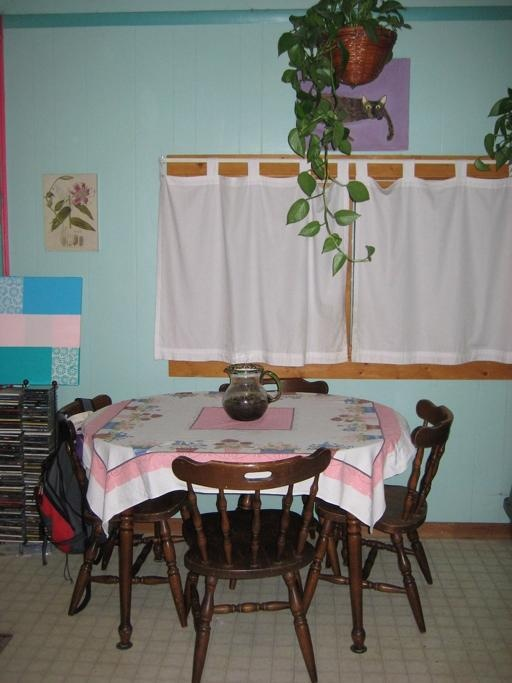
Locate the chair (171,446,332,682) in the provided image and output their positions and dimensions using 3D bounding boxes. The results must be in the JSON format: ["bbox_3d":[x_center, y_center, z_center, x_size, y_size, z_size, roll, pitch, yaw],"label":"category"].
[{"bbox_3d":[-0.025,0.696,2.094,0.492,0.802,0.567,-1,9,-8],"label":"chair"}]

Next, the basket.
[{"bbox_3d":[0.373,-1.031,2.290,0.257,0.182,0.259,8,17,19],"label":"basket"}]

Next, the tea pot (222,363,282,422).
[{"bbox_3d":[-0.030,0.194,2.337,0.244,0.230,0.175,2,1,-2],"label":"tea pot"}]

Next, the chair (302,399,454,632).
[{"bbox_3d":[0.457,0.636,2.763,0.772,1.118,0.760,1,2,16],"label":"chair"}]
